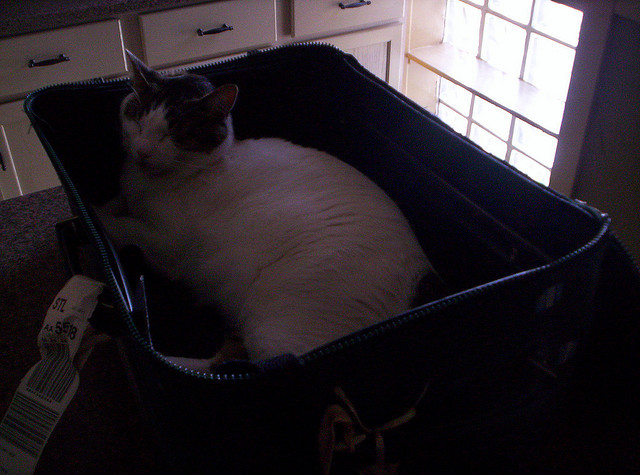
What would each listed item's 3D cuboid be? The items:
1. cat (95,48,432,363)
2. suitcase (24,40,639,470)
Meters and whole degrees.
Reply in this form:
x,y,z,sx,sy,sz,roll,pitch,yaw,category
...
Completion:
x,y,z,sx,sy,sz,roll,pitch,yaw,category
-0.036,-0.035,0.713,0.453,0.247,0.279,22,26,30,cat
-0.038,-0.002,0.648,0.434,0.247,0.629,-11,38,-20,suitcase
